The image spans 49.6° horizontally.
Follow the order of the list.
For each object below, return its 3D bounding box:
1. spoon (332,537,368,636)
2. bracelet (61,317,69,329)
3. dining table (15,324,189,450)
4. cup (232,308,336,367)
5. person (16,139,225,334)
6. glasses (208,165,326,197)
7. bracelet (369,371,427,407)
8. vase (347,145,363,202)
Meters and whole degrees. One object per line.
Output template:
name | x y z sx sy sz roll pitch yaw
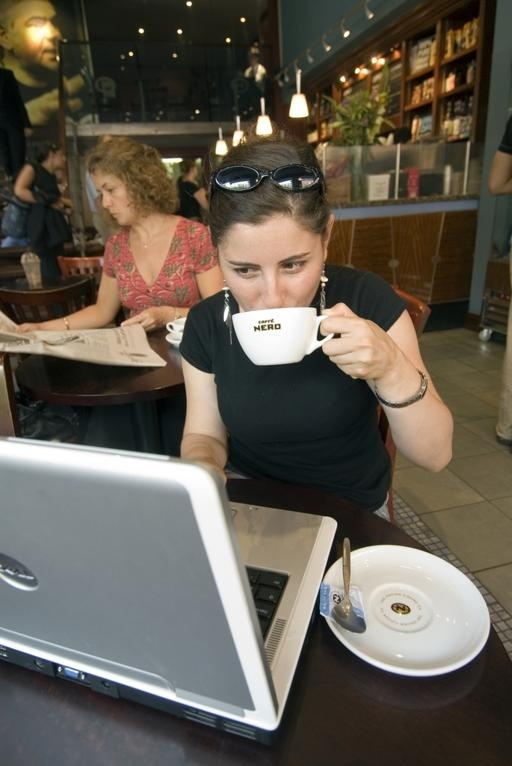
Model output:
spoon | 0.095 0.216 0.577 0.026 0.017 0.120 7 19 6
bracelet | -0.630 -0.198 1.840 0.012 0.035 0.031 -2 -6 -26
dining table | -0.381 0.075 1.457 0.429 0.308 0.402 -4 29 -9
cup | 0.022 -0.061 0.705 0.101 0.048 0.079 -2 3 -2
person | -0.466 -0.546 2.072 0.632 0.719 0.504 -5 21 2
glasses | 0.018 -0.293 0.793 0.167 0.043 0.082 -5 22 -1
bracelet | 0.209 0.011 0.808 0.080 0.059 0.063 2 23 16
vase | 0.772 -1.551 4.264 0.104 0.484 0.112 -5 -15 26
